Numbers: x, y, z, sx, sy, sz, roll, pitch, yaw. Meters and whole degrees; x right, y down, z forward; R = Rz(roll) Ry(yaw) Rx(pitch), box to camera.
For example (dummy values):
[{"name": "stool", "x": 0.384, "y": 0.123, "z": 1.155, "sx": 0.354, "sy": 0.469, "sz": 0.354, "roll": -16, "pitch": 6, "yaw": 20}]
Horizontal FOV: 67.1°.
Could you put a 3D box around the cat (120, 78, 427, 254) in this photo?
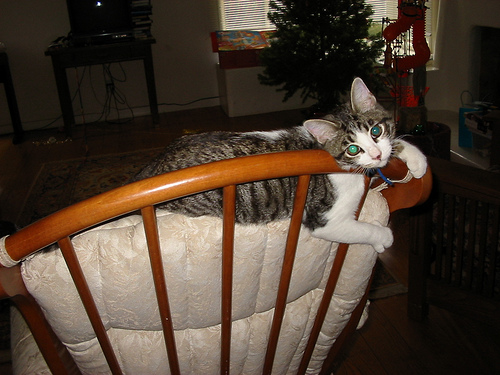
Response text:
[{"name": "cat", "x": 0.048, "y": -0.048, "z": 1.151, "sx": 0.878, "sy": 0.493, "sz": 0.344, "roll": -2, "pitch": 16, "yaw": -15}]
